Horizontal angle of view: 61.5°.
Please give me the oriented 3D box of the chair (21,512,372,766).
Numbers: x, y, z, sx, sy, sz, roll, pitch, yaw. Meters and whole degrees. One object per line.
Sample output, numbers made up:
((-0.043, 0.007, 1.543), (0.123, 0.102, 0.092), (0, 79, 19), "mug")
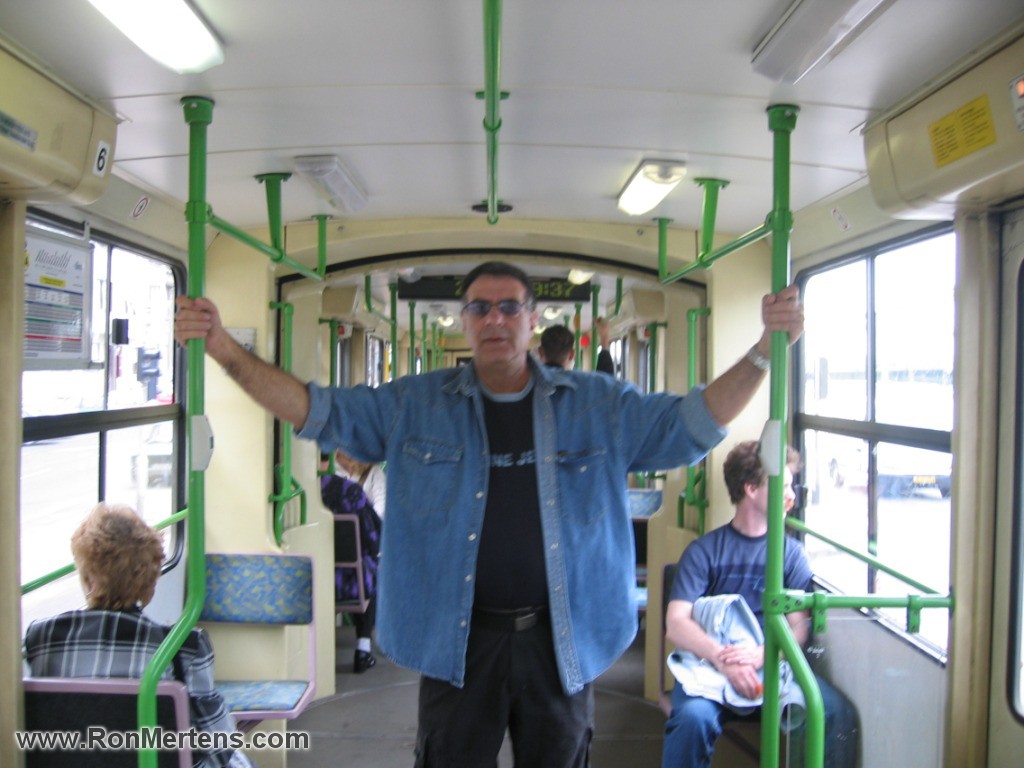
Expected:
((-1.447, 1.237, 4.293), (0.951, 1.462, 1.362), (2, -16, -11), "chair")

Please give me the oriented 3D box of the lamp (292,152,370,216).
((-0.919, -1.044, 4.420), (0.338, 0.103, 0.752), (8, -2, -3), "lamp")

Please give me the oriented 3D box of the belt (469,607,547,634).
((-0.013, 0.909, 3.346), (0.285, 0.094, 0.046), (-1, -6, 0), "belt")

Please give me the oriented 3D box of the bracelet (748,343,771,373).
((0.927, -0.106, 3.224), (0.078, 0.047, 0.092), (42, 3, -13), "bracelet")
